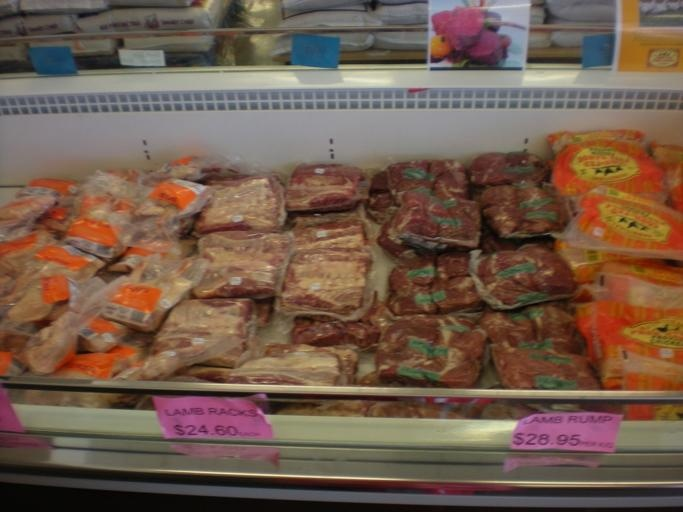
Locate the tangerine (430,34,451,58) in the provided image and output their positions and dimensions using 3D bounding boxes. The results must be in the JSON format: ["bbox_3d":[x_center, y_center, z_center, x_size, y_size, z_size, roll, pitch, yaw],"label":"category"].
[{"bbox_3d":[0.455,-0.971,2.374,0.124,0.067,0.121,-5,-4,4],"label":"tangerine"}]
